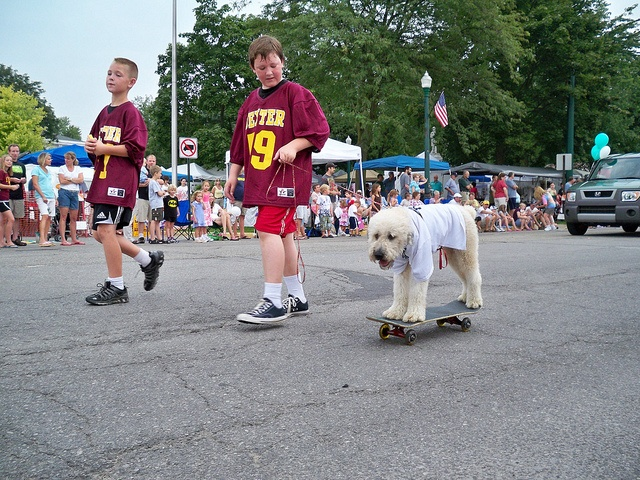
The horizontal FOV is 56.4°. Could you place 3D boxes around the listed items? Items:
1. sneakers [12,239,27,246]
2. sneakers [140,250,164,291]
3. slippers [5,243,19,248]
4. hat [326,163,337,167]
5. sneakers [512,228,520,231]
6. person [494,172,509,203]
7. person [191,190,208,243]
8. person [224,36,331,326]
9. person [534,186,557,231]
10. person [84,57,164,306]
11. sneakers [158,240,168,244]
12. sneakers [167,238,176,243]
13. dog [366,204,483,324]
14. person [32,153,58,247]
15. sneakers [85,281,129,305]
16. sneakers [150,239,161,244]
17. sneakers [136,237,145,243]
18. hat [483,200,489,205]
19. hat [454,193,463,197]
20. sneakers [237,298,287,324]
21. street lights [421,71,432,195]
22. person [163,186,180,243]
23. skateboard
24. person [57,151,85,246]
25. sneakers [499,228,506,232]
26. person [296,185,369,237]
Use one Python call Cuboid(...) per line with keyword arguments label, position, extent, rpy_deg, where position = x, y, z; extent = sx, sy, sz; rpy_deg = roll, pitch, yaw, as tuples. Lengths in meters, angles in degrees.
Cuboid(label="sneakers", position=(-6.448, 0.048, 12.875), extent=(0.419, 0.168, 0.144), rpy_deg=(4, 7, 31))
Cuboid(label="sneakers", position=(-1.913, 0.331, 6.897), extent=(0.183, 0.515, 0.252), rpy_deg=(19, 14, 41))
Cuboid(label="slippers", position=(-6.347, 0.130, 12.375), extent=(0.290, 0.070, 0.112), rpy_deg=(-1, 3, 9))
Cuboid(label="hat", position=(0.324, -2.242, 17.719), extent=(0.296, 0.115, 0.214), rpy_deg=(-6, 5, -19))
Cuboid(label="sneakers", position=(6.781, -0.373, 20.885), extent=(0.094, 0.119, 0.282), rpy_deg=(-11, -5, 1))
Cuboid(label="person", position=(6.191, -1.731, 20.828), extent=(0.448, 1.117, 0.645), rpy_deg=(2, 8, 4))
Cuboid(label="person", position=(-3.120, -0.624, 15.586), extent=(0.375, 1.298, 0.866), rpy_deg=(-1, 8, -12))
Cuboid(label="person", position=(-0.455, -0.384, 5.764), extent=(0.966, 2.305, 0.851), rpy_deg=(3, 8, 11))
Cuboid(label="person", position=(8.028, -1.148, 21.775), extent=(0.859, 1.553, 0.676), rpy_deg=(-4, 2, 23))
Cuboid(label="person", position=(-2.191, -0.437, 6.551), extent=(0.817, 2.204, 0.545), rpy_deg=(-4, 9, -34))
Cuboid(label="sneakers", position=(-3.870, 0.044, 14.883), extent=(0.328, 0.142, 0.112), rpy_deg=(0, 4, 28))
Cuboid(label="sneakers", position=(-3.730, 0.025, 15.091), extent=(0.257, 0.109, 0.086), rpy_deg=(1, 13, 1))
Cuboid(label="dog", position=(1.043, 0.192, 5.689), extent=(1.638, 1.099, 0.551), rpy_deg=(-8, 7, -42))
Cuboid(label="person", position=(-5.900, -0.891, 12.875), extent=(0.418, 1.986, 1.292), rpy_deg=(-3, 9, -25))
Cuboid(label="sneakers", position=(-2.259, 0.578, 6.426), extent=(0.497, 0.259, 0.189), rpy_deg=(2, -2, -38))
Cuboid(label="sneakers", position=(-4.018, 0.043, 14.677), extent=(0.264, 0.106, 0.145), rpy_deg=(1, 4, 7))
Cuboid(label="sneakers", position=(-4.382, 0.014, 14.739), extent=(0.094, 0.124, 0.278), rpy_deg=(0, -4, -29))
Cuboid(label="hat", position=(5.473, -1.285, 20.039), extent=(0.176, 0.118, 0.247), rpy_deg=(1, 8, -8))
Cuboid(label="hat", position=(4.460, -1.456, 19.313), extent=(0.340, 0.126, 0.249), rpy_deg=(-5, 8, -1))
Cuboid(label="sneakers", position=(-0.516, 0.671, 5.545), extent=(0.523, 0.222, 0.191), rpy_deg=(3, -6, -39))
Cuboid(label="street lights", position=(3.615, -3.544, 20.568), extent=(0.611, 4.315, 0.580), rpy_deg=(-1, 7, 13))
Cuboid(label="person", position=(-3.762, -0.669, 15.125), extent=(0.351, 1.413, 0.593), rpy_deg=(-1, 8, -14))
Cuboid(label="skateboard", position=(1.008, 0.722, 5.469), extent=(1.046, 0.237, 0.390), rpy_deg=(-8, 8, -38))
Cuboid(label="person", position=(-5.395, -0.900, 13.024), extent=(0.510, 2.037, 0.903), rpy_deg=(-2, 9, -23))
Cuboid(label="sneakers", position=(6.150, -0.343, 20.403), extent=(0.099, 0.120, 0.302), rpy_deg=(5, 5, 36))
Cuboid(label="person", position=(0.312, -0.715, 15.973), extent=(0.672, 1.892, 1.509), rpy_deg=(3, 8, 35))
